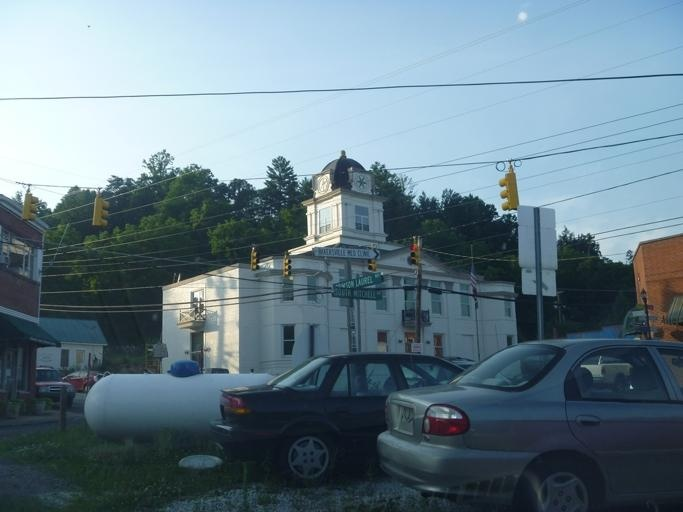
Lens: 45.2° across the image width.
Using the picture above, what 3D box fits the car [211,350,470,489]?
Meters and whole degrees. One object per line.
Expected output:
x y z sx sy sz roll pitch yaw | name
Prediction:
-0.017 2.712 14.305 4.277 1.357 1.929 -1 -5 -19 | car

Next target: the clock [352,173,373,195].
1.295 -4.924 55.810 0.092 1.108 1.638 -12 -14 35 | clock
